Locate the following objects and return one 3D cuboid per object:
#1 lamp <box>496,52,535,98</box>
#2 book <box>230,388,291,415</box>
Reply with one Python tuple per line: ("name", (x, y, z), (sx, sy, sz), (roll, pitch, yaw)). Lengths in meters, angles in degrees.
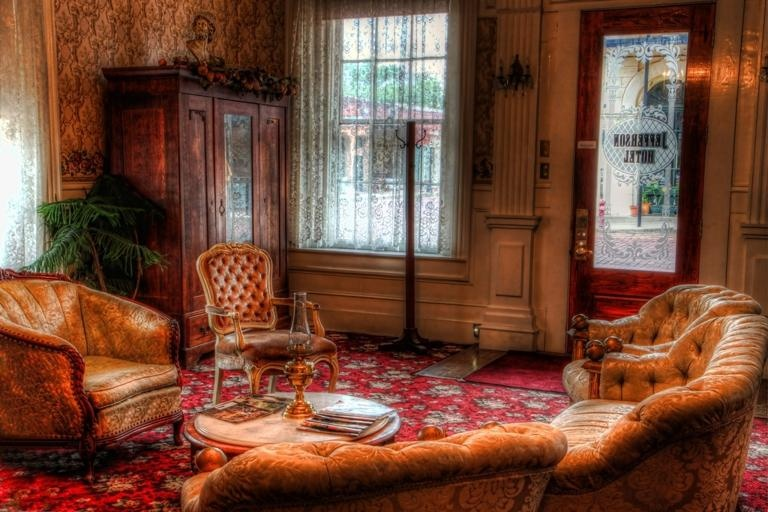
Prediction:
("lamp", (1.255, -1.703, 5.519), (0.454, 0.437, 0.237), (1, -2, 24))
("book", (-0.669, 0.788, 3.218), (0.260, 0.034, 0.285), (2, 5, 12))
